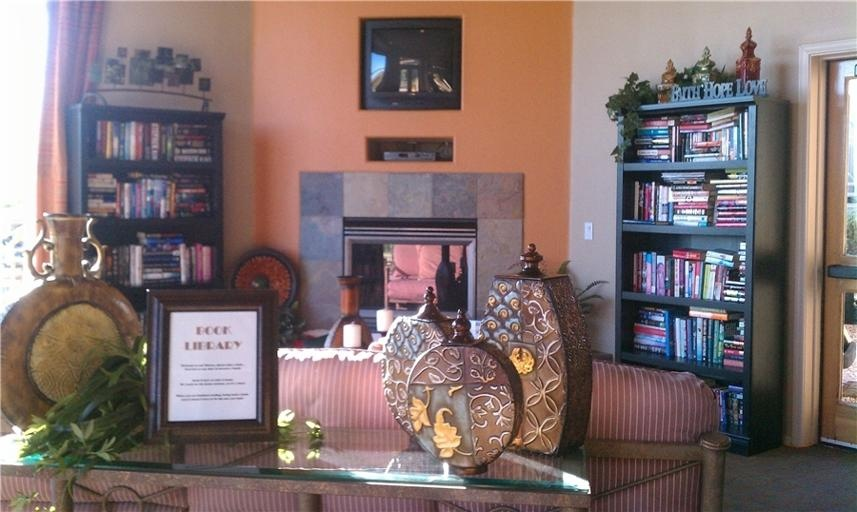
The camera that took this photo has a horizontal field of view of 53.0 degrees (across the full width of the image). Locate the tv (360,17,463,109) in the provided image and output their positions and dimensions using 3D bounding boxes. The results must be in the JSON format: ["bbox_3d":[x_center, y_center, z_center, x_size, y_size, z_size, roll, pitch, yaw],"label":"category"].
[{"bbox_3d":[-0.107,-1.633,7.060,0.827,0.660,0.089,0,-2,2],"label":"tv"}]

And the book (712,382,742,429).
[{"bbox_3d":[2.045,1.060,5.884,0.175,0.292,0.207,1,6,16],"label":"book"}]

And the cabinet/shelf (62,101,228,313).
[{"bbox_3d":[-2.234,-0.470,6.818,1.177,1.474,0.283,-3,7,-22],"label":"cabinet/shelf"}]

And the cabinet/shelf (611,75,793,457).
[{"bbox_3d":[1.928,0.052,6.088,1.124,2.513,0.569,6,9,44],"label":"cabinet/shelf"}]
